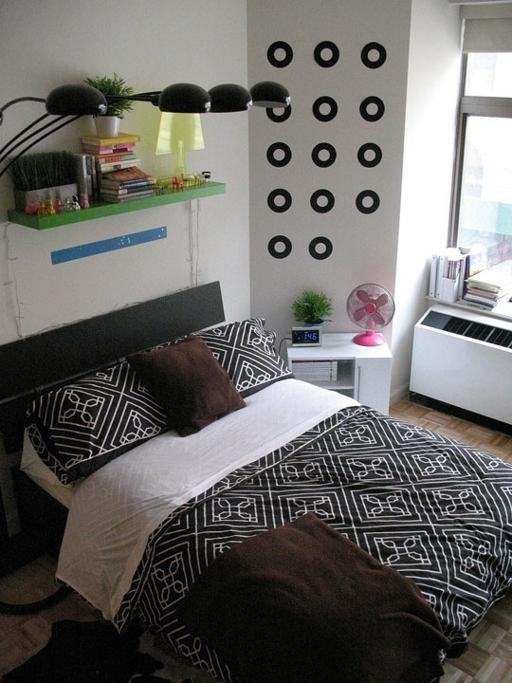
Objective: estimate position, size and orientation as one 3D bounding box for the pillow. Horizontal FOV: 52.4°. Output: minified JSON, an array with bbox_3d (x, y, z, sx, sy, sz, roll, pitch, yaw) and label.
[{"bbox_3d":[-0.468,0.267,2.577,0.408,0.386,1.245,17,26,40],"label":"pillow"}]

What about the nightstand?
[{"bbox_3d":[0.542,0.161,3.582,0.684,0.614,0.495,-1,14,-2],"label":"nightstand"}]

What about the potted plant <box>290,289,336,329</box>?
[{"bbox_3d":[0.383,-0.222,3.482,0.258,0.242,0.256,-1,10,-9],"label":"potted plant"}]

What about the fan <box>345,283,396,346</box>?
[{"bbox_3d":[0.775,-0.184,3.450,0.281,0.397,0.225,8,19,22],"label":"fan"}]
